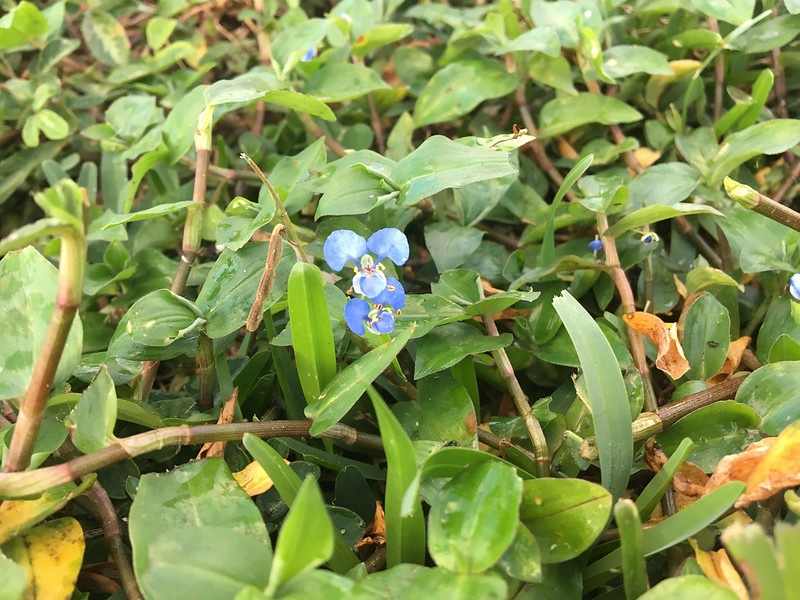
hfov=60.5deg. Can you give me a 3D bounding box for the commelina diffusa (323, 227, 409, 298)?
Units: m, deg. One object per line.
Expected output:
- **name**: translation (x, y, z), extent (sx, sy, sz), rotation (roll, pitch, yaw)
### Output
- **commelina diffusa**: translation (-0.050, -0.068, 1.069), extent (0.118, 0.112, 0.041), rotation (-12, -7, -18)

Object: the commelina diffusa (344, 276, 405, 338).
- **commelina diffusa**: translation (-0.031, 0.018, 1.068), extent (0.096, 0.033, 0.135), rotation (13, 35, 13)
